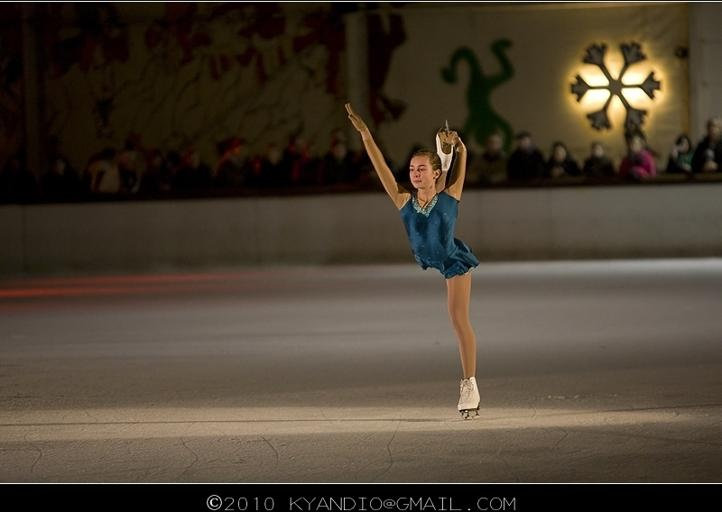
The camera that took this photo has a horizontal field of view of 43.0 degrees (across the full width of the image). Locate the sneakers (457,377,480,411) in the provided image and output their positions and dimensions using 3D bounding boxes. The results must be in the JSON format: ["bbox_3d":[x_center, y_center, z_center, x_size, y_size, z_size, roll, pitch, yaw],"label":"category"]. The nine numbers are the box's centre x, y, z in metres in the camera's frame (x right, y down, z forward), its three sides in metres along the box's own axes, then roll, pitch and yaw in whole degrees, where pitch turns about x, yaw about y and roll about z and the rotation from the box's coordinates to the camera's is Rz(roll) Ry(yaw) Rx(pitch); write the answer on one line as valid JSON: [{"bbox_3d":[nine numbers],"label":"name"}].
[{"bbox_3d":[0.834,1.041,6.885,0.193,0.270,0.217,-2,-5,-19],"label":"sneakers"}]

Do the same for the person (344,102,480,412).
[{"bbox_3d":[0.474,0.142,6.729,0.761,2.148,0.434,-2,7,6],"label":"person"}]

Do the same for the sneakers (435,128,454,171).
[{"bbox_3d":[0.604,-0.770,6.617,0.113,0.323,0.120,2,-2,7],"label":"sneakers"}]
